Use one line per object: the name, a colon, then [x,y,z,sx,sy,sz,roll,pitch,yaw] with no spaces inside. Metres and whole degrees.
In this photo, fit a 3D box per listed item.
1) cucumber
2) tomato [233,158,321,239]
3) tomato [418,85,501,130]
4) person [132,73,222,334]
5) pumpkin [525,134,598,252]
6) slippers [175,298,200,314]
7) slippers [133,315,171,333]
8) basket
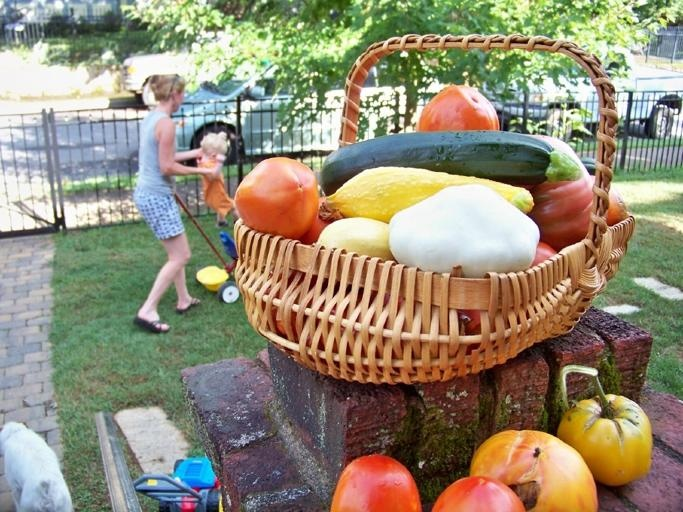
cucumber: [0.369,-0.304,2.050,0.898,0.294,0.207,-1,-2,6]
tomato: [-0.206,-0.228,1.906,0.288,0.256,0.231,-11,20,-42]
tomato: [0.440,-0.569,2.189,0.210,0.234,0.213,-22,9,-22]
person: [-1.536,-0.419,4.976,0.577,2.230,0.572,-14,23,-40]
pumpkin: [0.733,-0.215,2.029,0.182,0.350,0.249,6,-24,-13]
slippers: [-1.418,0.457,5.268,0.094,0.076,0.230,8,25,27]
slippers: [-1.621,0.569,4.879,0.255,0.105,0.144,14,6,4]
basket: [0.430,-0.294,2.174,1.077,1.105,1.436,10,23,39]
